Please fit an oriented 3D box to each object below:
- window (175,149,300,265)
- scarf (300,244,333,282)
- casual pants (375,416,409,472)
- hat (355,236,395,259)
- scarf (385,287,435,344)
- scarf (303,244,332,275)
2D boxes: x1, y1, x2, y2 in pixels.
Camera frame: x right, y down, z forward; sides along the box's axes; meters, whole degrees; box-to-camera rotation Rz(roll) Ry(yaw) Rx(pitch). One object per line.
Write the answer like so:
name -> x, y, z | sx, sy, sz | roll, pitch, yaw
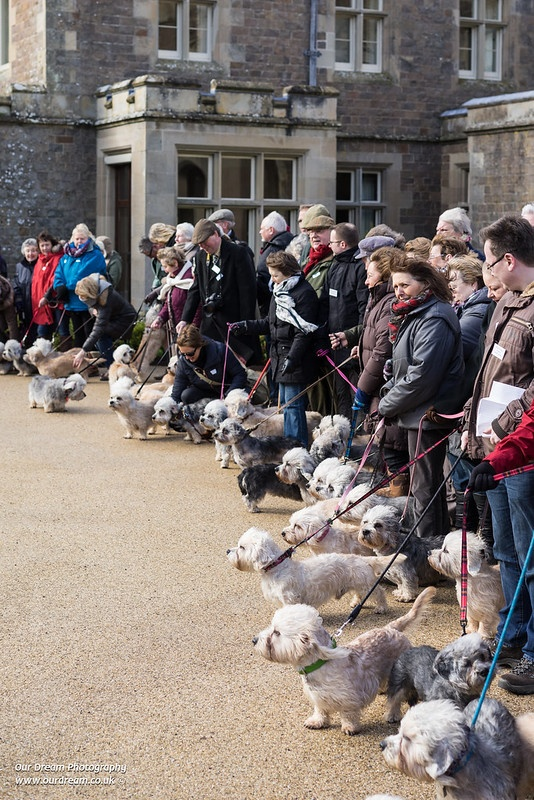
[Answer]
window -> -0.536, -3.284, 17.265 | 2.256, 1.905, 0.172 | -2, 15, -16
scarf -> 0.467, -1.225, 9.132 | 0.128, 0.314, 0.234 | 20, 21, -40
casual pants -> 0.788, 0.281, 6.445 | 0.167, 0.490, 0.152 | 0, -24, 4
hat -> 0.764, -1.116, 7.471 | 0.294, 0.115, 0.207 | -5, 10, 8
scarf -> 0.809, -0.481, 5.840 | 0.129, 0.245, 0.189 | 26, -4, -16
scarf -> 0.458, -1.237, 9.115 | 0.122, 0.292, 0.219 | 23, 19, -40
